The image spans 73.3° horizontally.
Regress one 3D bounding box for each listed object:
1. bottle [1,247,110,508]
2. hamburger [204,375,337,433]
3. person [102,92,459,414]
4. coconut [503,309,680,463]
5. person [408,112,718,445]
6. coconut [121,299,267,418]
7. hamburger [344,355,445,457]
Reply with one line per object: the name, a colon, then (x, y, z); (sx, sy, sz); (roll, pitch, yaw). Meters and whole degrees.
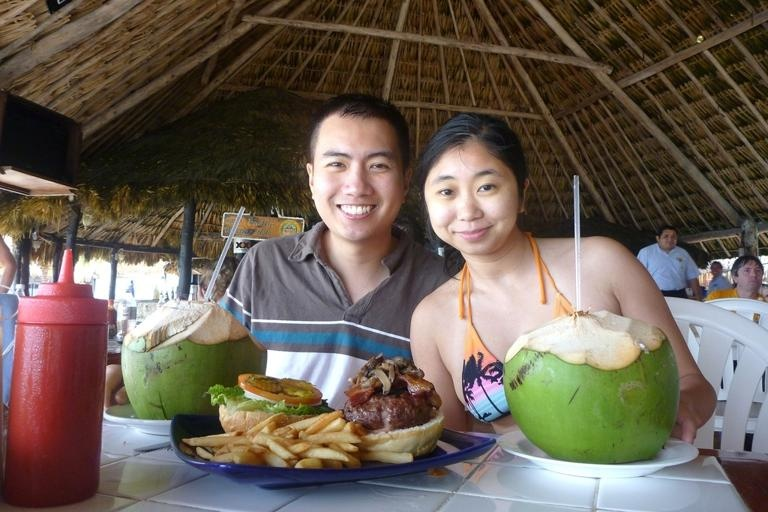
bottle: (-0.547, 0.199, 0.910); (0.123, 0.392, 0.198); (1, -1, -32)
hamburger: (-0.238, 0.279, 1.115); (0.172, 0.116, 0.244); (-2, 0, 38)
person: (-0.171, 0.070, 2.108); (0.645, 1.550, 0.674); (-1, -2, 26)
coconut: (0.454, 0.290, 1.127); (0.346, 0.346, 0.367); (0, -5, -16)
person: (0.498, 0.062, 1.766); (0.559, 1.357, 0.637); (3, -3, -44)
coconut: (-0.506, 0.268, 1.286); (0.305, 0.291, 0.325); (-6, -9, 27)
hamburger: (0.016, 0.320, 1.097); (0.242, 0.187, 0.240); (-1, -4, -25)
